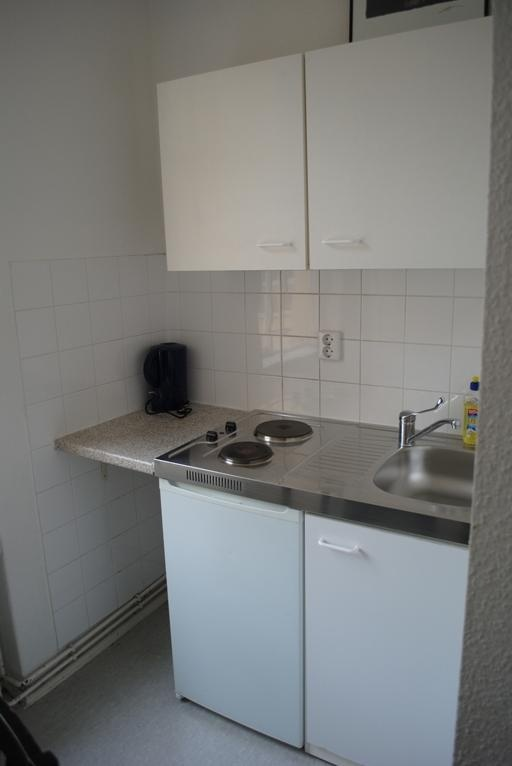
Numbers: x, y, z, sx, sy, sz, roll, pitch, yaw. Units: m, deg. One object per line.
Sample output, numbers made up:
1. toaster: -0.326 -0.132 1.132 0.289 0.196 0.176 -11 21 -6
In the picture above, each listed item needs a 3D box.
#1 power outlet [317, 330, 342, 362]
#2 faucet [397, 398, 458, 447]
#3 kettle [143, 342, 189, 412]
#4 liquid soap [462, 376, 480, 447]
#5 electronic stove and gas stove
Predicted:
1. power outlet: 0.249 -0.123 1.896 0.086 0.132 0.013 4 7 33
2. faucet: 0.507 0.120 1.680 0.172 0.137 0.205 8 13 43
3. kettle: -0.340 -0.013 2.189 0.179 0.256 0.198 -2 9 -8
4. liquid soap: 0.616 0.083 1.645 0.033 0.200 0.088 2 9 15
5. electronic stove and gas stove: 0.070 0.210 1.749 0.549 0.087 0.571 4 11 27
